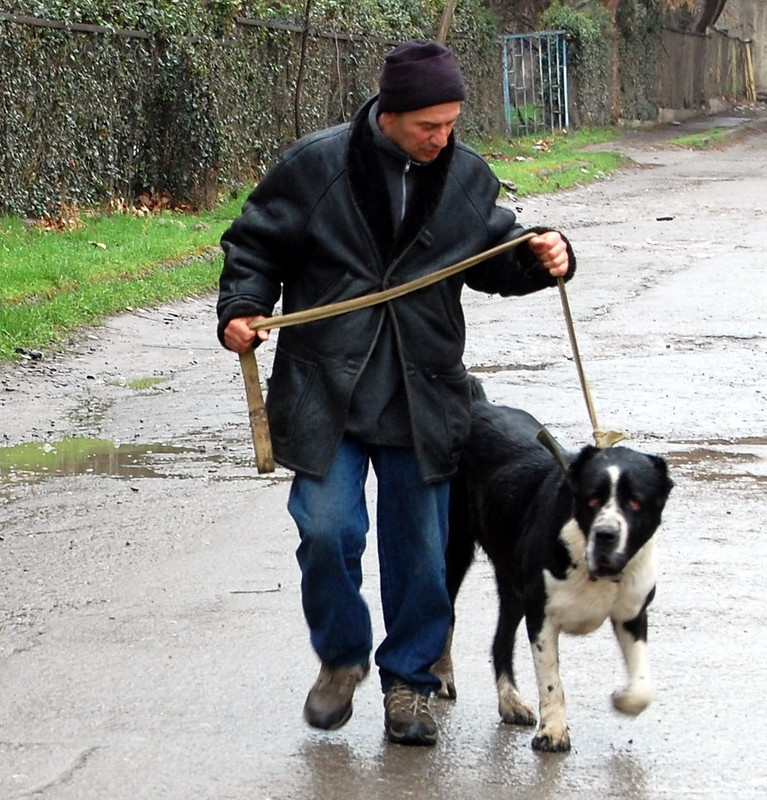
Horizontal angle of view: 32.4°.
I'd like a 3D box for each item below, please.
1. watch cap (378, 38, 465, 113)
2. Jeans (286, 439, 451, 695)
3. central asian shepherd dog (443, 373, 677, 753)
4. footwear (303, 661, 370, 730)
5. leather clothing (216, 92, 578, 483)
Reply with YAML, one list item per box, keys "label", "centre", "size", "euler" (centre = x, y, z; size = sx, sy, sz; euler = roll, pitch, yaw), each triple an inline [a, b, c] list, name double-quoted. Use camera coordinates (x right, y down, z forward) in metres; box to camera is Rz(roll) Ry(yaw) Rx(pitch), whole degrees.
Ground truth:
- label: "watch cap"
  centre: [0.107, -0.926, 3.768]
  size: [0.252, 0.209, 0.248]
  euler: [-14, 18, -24]
- label: "Jeans"
  centre: [-0.068, 0.446, 4.053]
  size: [0.524, 0.738, 0.615]
  euler: [1, 21, -12]
- label: "central asian shepherd dog"
  centre: [0.527, 0.497, 4.070]
  size: [0.430, 0.898, 1.004]
  euler: [-4, 13, -15]
- label: "footwear"
  centre: [-0.151, 0.865, 3.932]
  size: [0.146, 0.147, 0.367]
  euler: [2, 14, 13]
- label: "leather clothing"
  centre: [0.019, -0.312, 3.998]
  size: [1.016, 1.090, 0.471]
  euler: [3, 16, -2]
